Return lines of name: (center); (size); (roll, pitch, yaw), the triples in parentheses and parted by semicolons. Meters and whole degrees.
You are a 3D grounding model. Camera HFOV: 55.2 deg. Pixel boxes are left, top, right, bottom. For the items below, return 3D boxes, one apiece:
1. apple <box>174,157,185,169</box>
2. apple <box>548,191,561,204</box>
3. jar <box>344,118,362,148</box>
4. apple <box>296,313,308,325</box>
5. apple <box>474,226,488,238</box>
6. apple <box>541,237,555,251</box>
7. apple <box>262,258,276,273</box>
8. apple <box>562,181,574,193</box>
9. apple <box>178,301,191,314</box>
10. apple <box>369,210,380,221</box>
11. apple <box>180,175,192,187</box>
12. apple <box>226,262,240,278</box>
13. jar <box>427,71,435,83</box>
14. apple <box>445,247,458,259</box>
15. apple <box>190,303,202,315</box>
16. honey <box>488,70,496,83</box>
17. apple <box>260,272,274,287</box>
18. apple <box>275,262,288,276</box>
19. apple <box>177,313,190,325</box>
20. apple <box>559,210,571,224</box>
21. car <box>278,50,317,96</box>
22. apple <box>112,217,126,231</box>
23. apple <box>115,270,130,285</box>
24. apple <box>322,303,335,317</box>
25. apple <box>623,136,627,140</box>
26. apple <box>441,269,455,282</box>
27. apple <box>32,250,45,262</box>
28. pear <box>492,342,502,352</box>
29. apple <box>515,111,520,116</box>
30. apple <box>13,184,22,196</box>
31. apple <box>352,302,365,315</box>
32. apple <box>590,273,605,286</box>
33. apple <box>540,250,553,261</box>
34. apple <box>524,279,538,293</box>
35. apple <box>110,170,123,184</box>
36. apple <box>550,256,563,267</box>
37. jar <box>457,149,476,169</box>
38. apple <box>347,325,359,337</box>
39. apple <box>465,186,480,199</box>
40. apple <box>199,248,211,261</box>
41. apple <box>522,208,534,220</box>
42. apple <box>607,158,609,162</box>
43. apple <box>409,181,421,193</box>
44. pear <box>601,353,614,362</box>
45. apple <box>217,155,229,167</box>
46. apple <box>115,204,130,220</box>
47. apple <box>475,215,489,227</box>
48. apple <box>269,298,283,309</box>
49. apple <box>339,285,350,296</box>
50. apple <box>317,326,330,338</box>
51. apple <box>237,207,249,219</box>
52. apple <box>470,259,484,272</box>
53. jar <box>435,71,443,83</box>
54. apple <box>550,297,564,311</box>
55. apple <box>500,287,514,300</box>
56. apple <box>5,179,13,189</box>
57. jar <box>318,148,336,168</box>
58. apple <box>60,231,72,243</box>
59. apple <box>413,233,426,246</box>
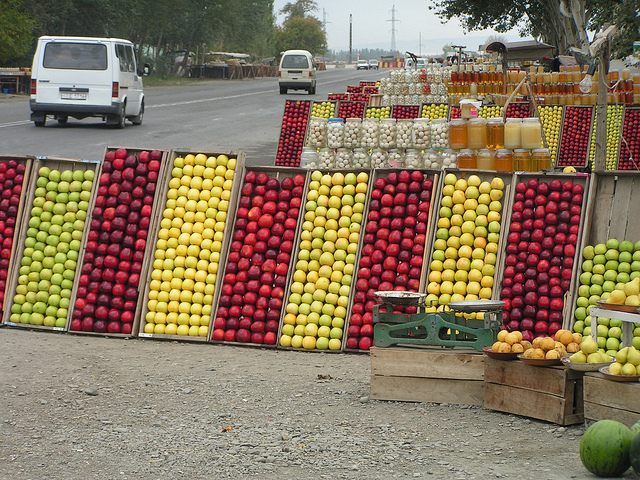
apple: (-1.969, -1.056, 8.579); (0.127, 0.146, 0.126); (17, 40, 4)
apple: (2.902, -0.510, 7.559); (0.138, 0.128, 0.121); (-6, -28, 4)
jar: (0.615, -1.934, 11.404); (0.376, 0.559, 0.323); (2, 6, 12)
apple: (-0.232, 1.042, 7.998); (0.122, 0.116, 0.117); (1, 8, 1)
apple: (2.016, -0.082, 7.665); (0.147, 0.133, 0.143); (-7, -18, 32)
apple: (2.784, 0.060, 7.530); (0.151, 0.145, 0.155); (-15, 5, -39)
apple: (-0.684, 0.358, 8.209); (0.175, 0.153, 0.167); (-3, 9, 1)
apple: (3.086, -0.637, 7.608); (0.136, 0.136, 0.101); (1, 5, 0)
apple: (-1.824, 0.918, 8.261); (0.176, 0.146, 0.151); (10, -2, -44)
apple: (0.717, -0.295, 8.052); (0.130, 0.123, 0.117); (2, 1, 4)
apple: (-1.864, -0.797, 8.550); (0.160, 0.143, 0.157); (1, 20, 5)
apple: (-1.182, 0.407, 8.280); (0.170, 0.190, 0.165); (-1, 1, -4)
jar: (4.063, -5.837, 22.349); (0.258, 0.360, 0.341); (2, 6, 9)
apple: (1.648, 0.175, 7.681); (0.135, 0.127, 0.132); (4, 27, 19)
apple: (-1.663, 0.932, 8.244); (0.152, 0.142, 0.141); (1, 8, 7)
honey: (5.866, -5.451, 20.850); (0.283, 0.402, 0.163); (4, 6, 25)
apple: (-0.702, 0.538, 8.190); (0.182, 0.167, 0.171); (-1, 5, -4)
apple: (-0.510, 0.407, 8.221); (0.153, 0.144, 0.152); (-1, 48, -5)
apple: (-1.830, 1.070, 8.220); (0.153, 0.142, 0.150); (3, -4, 27)
apple: (2.999, -0.264, 7.542); (0.145, 0.140, 0.155); (8, 42, 9)
car: (-1.670, -12.514, 46.478); (2.698, 3.502, 2.347); (1, 5, -5)
apple: (-2.776, -0.198, 8.527); (0.163, 0.150, 0.153); (-6, 11, 5)
apple: (-2.697, 0.523, 8.363); (0.169, 0.156, 0.163); (0, 2, -2)
apple: (0.114, 0.917, 7.969); (0.149, 0.135, 0.129); (2, -17, 5)
apple: (9.054, -2.964, 18.137); (0.110, 0.073, 0.033); (0, 5, -8)
apple: (1.603, 0.456, 7.637); (0.152, 0.139, 0.147); (2, -6, 31)
apple: (-3.946, 0.231, 8.641); (0.157, 0.147, 0.153); (5, 15, 9)
pear: (1.667, 1.017, 5.799); (0.073, 0.086, 0.071); (20, -13, 7)
apple: (6.113, -3.848, 18.933); (0.113, 0.060, 0.092); (-4, 22, -41)
apple: (-4.348, -0.689, 8.817); (0.147, 0.150, 0.052); (3, 6, 21)
apple: (0.484, 0.895, 7.827); (0.139, 0.123, 0.134); (-2, -7, 5)
apple: (3.225, 0.473, 7.100); (0.126, 0.109, 0.118); (3, 5, -6)
apple: (2.759, 0.203, 7.489); (0.132, 0.119, 0.119); (-5, 39, 2)
apple: (2.557, 0.571, 7.412); (0.145, 0.154, 0.136); (-2, -3, -13)
apple: (-2.815, -0.850, 8.534); (0.158, 0.177, 0.162); (7, -7, -1)
apple: (2.865, 0.277, 7.421); (0.116, 0.112, 0.135); (4, -25, 12)
jar: (2.157, -1.156, 8.988); (0.271, 0.250, 0.269); (0, 3, 0)
apple: (0.439, 1.182, 7.935); (0.145, 0.128, 0.137); (-20, 20, -1)
apple: (1.943, -0.579, 7.787); (0.157, 0.144, 0.158); (-11, 11, -38)
apple: (-1.557, 0.209, 8.419); (0.147, 0.168, 0.148); (-17, 56, -36)
apple: (2.577, -0.301, 7.583); (0.138, 0.123, 0.123); (-1, -4, 0)
apple: (8.751, -2.365, 18.586); (0.070, 0.124, 0.074); (2, 0, 11)
apple: (1.250, -0.672, 8.005); (0.143, 0.125, 0.130); (0, 2, -1)
pear: (2.573, 1.058, 5.473); (0.126, 0.060, 0.069); (18, 2, -35)
apple: (-1.351, -1.072, 8.536); (0.147, 0.163, 0.077); (0, 5, -11)
apple: (-2.739, -0.366, 8.487); (0.195, 0.206, 0.077); (0, 5, -14)
apple: (2.034, -0.218, 7.681); (0.140, 0.137, 0.133); (7, -21, 7)
apple: (-0.584, 0.850, 8.154); (0.138, 0.160, 0.135); (-9, -2, -40)
apple: (0.327, 0.670, 7.991); (0.130, 0.119, 0.127); (-1, -4, 0)
apple: (0.057, 1.194, 7.923); (0.145, 0.135, 0.141); (0, -1, 7)
apple: (-1.057, -0.348, 8.449); (0.156, 0.151, 0.061); (1, 5, -4)
apple: (1.953, 0.318, 7.576); (0.149, 0.110, 0.116); (-1, 3, 15)
jar: (4.322, -5.807, 22.224); (0.279, 0.369, 0.341); (2, 6, 10)
apple: (2.821, 0.771, 7.298); (0.152, 0.139, 0.137); (-2, 0, -16)
apple: (2.279, 0.661, 7.453); (0.130, 0.121, 0.128); (-1, -2, 7)
apple: (-4.494, -0.778, 8.858); (0.125, 0.116, 0.127); (0, -5, -7)
jar: (0.139, -1.577, 12.189); (0.392, 0.424, 0.381); (0, 1, 0)
apple: (-3.558, -0.019, 8.658); (0.144, 0.133, 0.138); (-26, 2, -6)
apple: (1.294, 0.007, 7.921); (0.125, 0.118, 0.131); (-4, -4, 5)
